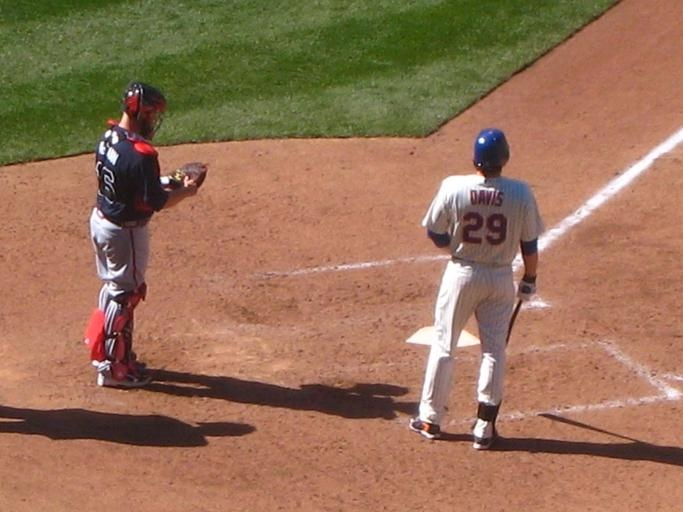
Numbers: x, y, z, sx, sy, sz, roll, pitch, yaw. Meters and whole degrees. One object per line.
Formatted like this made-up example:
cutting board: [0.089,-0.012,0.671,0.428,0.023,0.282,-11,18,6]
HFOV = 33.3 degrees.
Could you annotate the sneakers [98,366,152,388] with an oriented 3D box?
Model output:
sneakers: [-2.068,1.180,10.893,0.510,0.164,0.196,0,-13,-10]

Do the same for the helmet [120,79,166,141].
helmet: [-1.895,-1.356,10.673,0.481,0.429,0.376,10,12,-47]

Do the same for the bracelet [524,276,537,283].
bracelet: [1.712,0.229,10.319,0.066,0.054,0.073,9,-6,4]

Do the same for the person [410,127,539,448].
person: [1.225,0.321,10.211,1.016,2.745,1.178,6,27,9]

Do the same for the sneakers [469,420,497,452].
sneakers: [1.300,1.631,10.304,0.152,0.225,0.360,9,28,21]

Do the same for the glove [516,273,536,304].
glove: [1.697,0.297,10.376,0.168,0.243,0.263,9,21,15]

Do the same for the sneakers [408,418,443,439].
sneakers: [0.758,1.590,10.465,0.133,0.125,0.321,-20,33,-39]

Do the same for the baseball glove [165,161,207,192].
baseball glove: [-1.475,-0.744,10.940,0.236,0.145,0.432,30,39,32]
